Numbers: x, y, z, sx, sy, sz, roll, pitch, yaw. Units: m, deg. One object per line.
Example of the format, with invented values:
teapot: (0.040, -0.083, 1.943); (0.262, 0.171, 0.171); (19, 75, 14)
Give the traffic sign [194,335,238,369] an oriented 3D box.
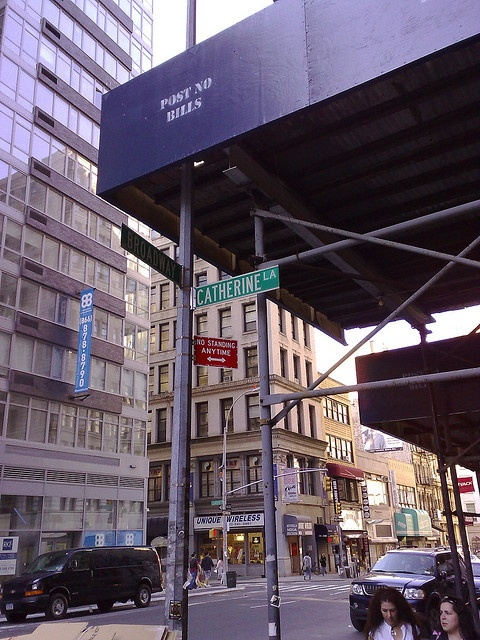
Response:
traffic sign: (-0.381, 0.493, 7.972); (0.730, 0.587, 0.484); (2, -23, -12)
